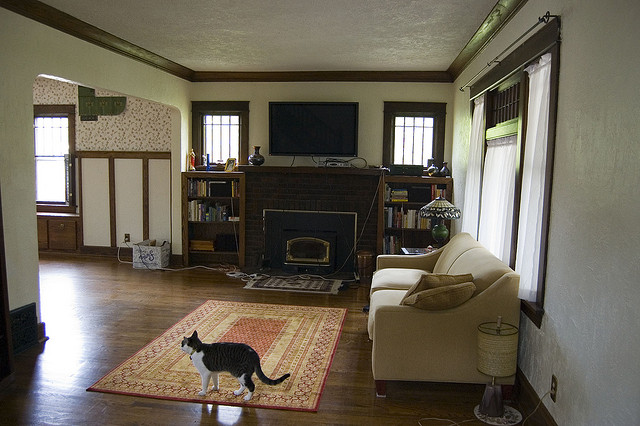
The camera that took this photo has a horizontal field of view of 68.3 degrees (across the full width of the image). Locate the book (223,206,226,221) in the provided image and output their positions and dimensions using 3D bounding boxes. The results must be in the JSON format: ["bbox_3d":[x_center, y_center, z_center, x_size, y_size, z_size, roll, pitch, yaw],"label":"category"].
[{"bbox_3d":[-1.604,0.010,7.896,0.046,0.228,0.047,-1,12,-9],"label":"book"}]

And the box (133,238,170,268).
[{"bbox_3d":[-2.821,0.672,7.995,0.581,0.378,0.572,0,15,-3],"label":"box"}]

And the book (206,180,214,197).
[{"bbox_3d":[-1.846,-0.413,7.902,0.131,0.265,0.165,-2,12,-13],"label":"book"}]

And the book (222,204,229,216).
[{"bbox_3d":[-1.599,-0.055,7.901,0.126,0.231,0.126,1,-2,-4],"label":"book"}]

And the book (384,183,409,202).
[{"bbox_3d":[1.201,-0.311,7.394,0.379,0.276,0.148,3,12,11],"label":"book"}]

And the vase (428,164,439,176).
[{"bbox_3d":[1.730,-0.646,7.310,0.139,0.186,0.138,-12,16,-42],"label":"vase"}]

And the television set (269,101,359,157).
[{"bbox_3d":[-0.129,-1.345,7.644,1.521,0.873,0.055,4,10,17],"label":"television set"}]

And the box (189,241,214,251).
[{"bbox_3d":[-2.003,0.558,7.979,0.245,0.088,0.211,1,5,3],"label":"box"}]

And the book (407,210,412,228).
[{"bbox_3d":[1.393,0.098,7.338,0.089,0.244,0.254,2,5,7],"label":"book"}]

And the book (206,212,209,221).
[{"bbox_3d":[-1.892,0.061,7.923,0.048,0.138,0.069,-3,13,-17],"label":"book"}]

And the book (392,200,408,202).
[{"bbox_3d":[1.250,-0.187,7.350,0.218,0.023,0.064,-1,12,-7],"label":"book"}]

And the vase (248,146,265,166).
[{"bbox_3d":[-1.041,-0.931,7.709,0.258,0.306,0.277,-1,12,-8],"label":"vase"}]

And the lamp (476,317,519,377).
[{"bbox_3d":[1.513,1.174,4.037,0.326,0.502,0.308,-5,8,-42],"label":"lamp"}]

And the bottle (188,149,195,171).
[{"bbox_3d":[-2.202,-0.905,8.052,0.116,0.338,0.191,-3,12,-15],"label":"bottle"}]

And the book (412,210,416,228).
[{"bbox_3d":[1.461,0.095,7.354,0.043,0.272,0.075,4,12,13],"label":"book"}]

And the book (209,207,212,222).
[{"bbox_3d":[-1.838,0.026,7.912,0.047,0.213,0.075,-1,12,-10],"label":"book"}]

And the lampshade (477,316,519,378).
[{"bbox_3d":[1.517,1.158,4.036,0.327,0.532,0.311,-5,9,-18],"label":"lampshade"}]

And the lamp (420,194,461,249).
[{"bbox_3d":[1.410,0.100,5.926,0.565,0.731,0.558,-4,8,-35],"label":"lamp"}]

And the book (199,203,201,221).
[{"bbox_3d":[-2.017,-0.012,7.919,0.028,0.251,0.038,3,12,9],"label":"book"}]

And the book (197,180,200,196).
[{"bbox_3d":[-2.041,-0.404,7.888,0.027,0.238,0.046,-1,12,-10],"label":"book"}]

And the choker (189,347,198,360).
[{"bbox_3d":[-1.096,1.217,4.090,0.020,0.082,0.086,31,25,7],"label":"choker"}]

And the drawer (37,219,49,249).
[{"bbox_3d":[-5.005,0.390,8.517,0.202,0.551,0.042,1,12,2],"label":"drawer"}]

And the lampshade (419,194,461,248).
[{"bbox_3d":[1.449,0.099,5.946,0.540,0.668,0.536,0,0,9],"label":"lampshade"}]

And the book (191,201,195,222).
[{"bbox_3d":[-2.139,-0.022,7.920,0.058,0.311,0.059,-1,12,-9],"label":"book"}]

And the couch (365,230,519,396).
[{"bbox_3d":[1.166,0.978,4.675,1.345,1.160,1.612,2,12,7],"label":"couch"}]

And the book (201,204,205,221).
[{"bbox_3d":[-1.971,-0.008,7.923,0.051,0.259,0.072,0,12,-6],"label":"book"}]

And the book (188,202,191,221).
[{"bbox_3d":[-2.201,-0.030,7.934,0.051,0.220,0.217,1,9,-17],"label":"book"}]

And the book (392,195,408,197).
[{"bbox_3d":[1.243,-0.265,7.370,0.221,0.027,0.045,0,12,-5],"label":"book"}]

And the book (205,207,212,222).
[{"bbox_3d":[-1.881,0.039,7.929,0.117,0.213,0.219,0,3,-1],"label":"book"}]

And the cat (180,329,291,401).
[{"bbox_3d":[-0.793,1.372,4.143,0.989,0.520,0.219,2,0,14],"label":"cat"}]
